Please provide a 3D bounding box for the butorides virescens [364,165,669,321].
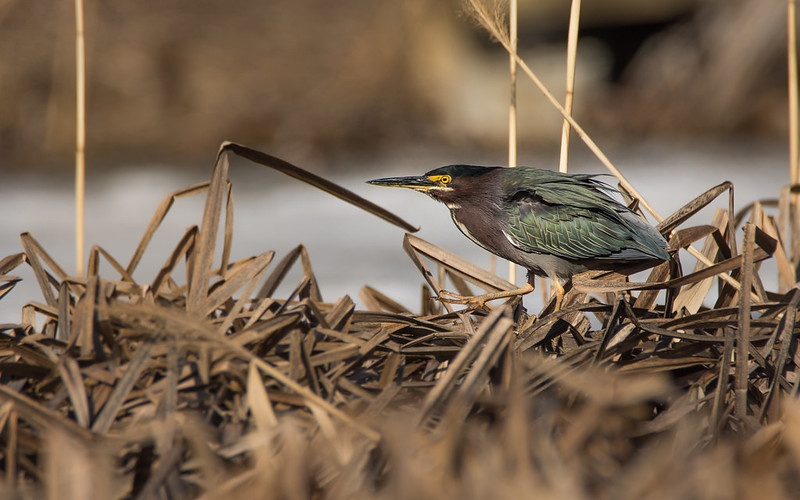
[{"bbox_3d":[0.257,-0.031,3.380,0.541,0.243,0.183,0,4,-21],"label":"butorides virescens"}]
